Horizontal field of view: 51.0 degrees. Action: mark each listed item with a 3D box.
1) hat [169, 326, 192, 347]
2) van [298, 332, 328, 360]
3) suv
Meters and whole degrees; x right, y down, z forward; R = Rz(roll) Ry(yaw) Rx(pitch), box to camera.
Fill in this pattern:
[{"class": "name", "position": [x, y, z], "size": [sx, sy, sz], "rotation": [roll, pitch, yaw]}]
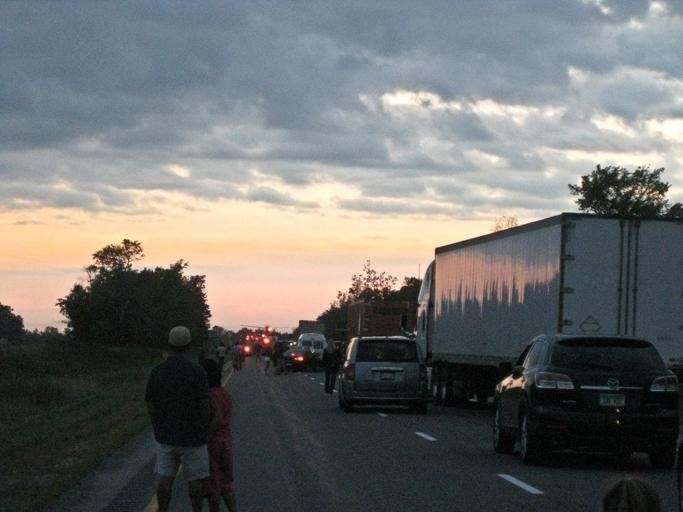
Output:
[{"class": "hat", "position": [-1.680, 0.866, 7.455], "size": [0.189, 0.143, 0.281], "rotation": [-3, 13, 1]}, {"class": "van", "position": [-2.378, 8.160, 61.198], "size": [2.419, 2.411, 4.235], "rotation": [1, -3, -6]}, {"class": "suv", "position": [4.211, 2.477, 12.287], "size": [2.876, 2.234, 1.734], "rotation": [0, -4, 21]}]
